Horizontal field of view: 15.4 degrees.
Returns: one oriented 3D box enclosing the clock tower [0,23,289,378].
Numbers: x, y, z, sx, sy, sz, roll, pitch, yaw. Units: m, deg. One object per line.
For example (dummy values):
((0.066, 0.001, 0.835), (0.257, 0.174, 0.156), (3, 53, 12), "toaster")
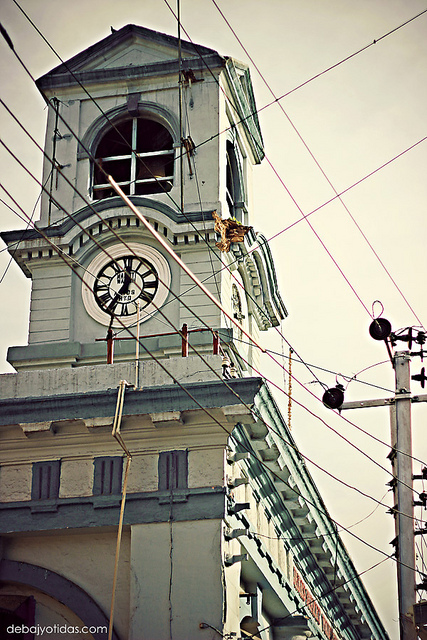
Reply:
((-1.889, -2.990, 44.010), (6.887, 11.744, 4.967), (4, -31, -7), "clock tower")
